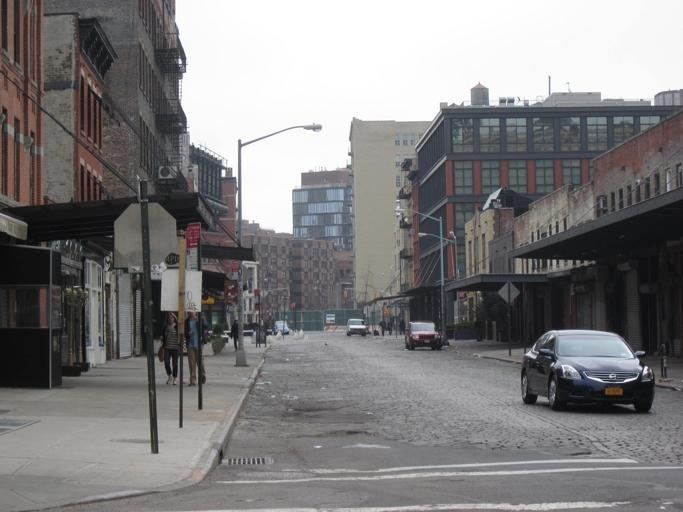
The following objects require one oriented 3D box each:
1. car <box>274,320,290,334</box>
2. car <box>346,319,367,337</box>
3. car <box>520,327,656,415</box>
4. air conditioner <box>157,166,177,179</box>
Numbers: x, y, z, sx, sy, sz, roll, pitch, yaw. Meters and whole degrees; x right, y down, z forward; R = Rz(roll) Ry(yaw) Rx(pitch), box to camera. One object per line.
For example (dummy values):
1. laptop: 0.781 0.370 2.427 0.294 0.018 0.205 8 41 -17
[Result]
1. car: -8.201 9.602 126.968 1.864 1.952 4.391 -1 6 0
2. car: 1.695 8.141 105.691 1.954 2.271 5.783 1 -9 -2
3. car: 5.319 2.575 21.574 1.350 1.230 3.240 1 -11 -7
4. air conditioner: -10.678 -5.122 57.439 1.218 1.026 0.727 0 -10 -16
